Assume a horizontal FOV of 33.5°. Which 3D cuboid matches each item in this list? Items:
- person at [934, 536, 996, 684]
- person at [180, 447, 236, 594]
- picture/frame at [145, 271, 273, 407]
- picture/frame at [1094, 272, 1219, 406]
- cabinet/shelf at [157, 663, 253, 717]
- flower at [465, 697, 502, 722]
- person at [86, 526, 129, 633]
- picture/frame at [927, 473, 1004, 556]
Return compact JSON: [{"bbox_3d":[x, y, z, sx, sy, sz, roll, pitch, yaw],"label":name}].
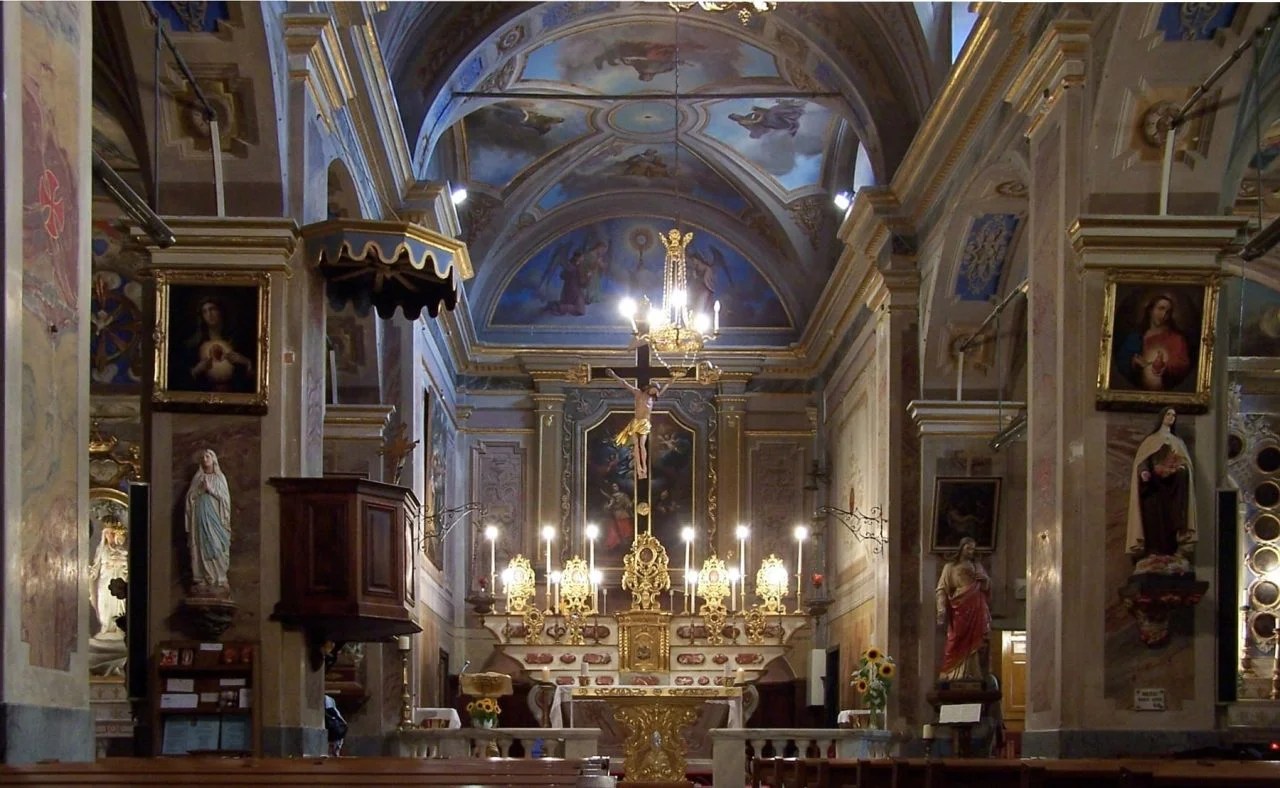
[{"bbox_3d":[3.488,2.315,22.843,0.527,1.514,0.469,-2,-13,7],"label":"person"},{"bbox_3d":[-3.985,1.225,19.830,0.430,1.341,0.315,3,-13,-14],"label":"person"},{"bbox_3d":[-4.040,-0.514,20.035,1.370,1.531,0.180,0,-4,-6],"label":"picture/frame"},{"bbox_3d":[4.845,-0.505,19.874,1.263,1.405,0.206,4,-1,1],"label":"picture/frame"},{"bbox_3d":[-4.002,2.756,19.844,0.884,0.411,0.201,2,-13,-12],"label":"cabinet/shelf"},{"bbox_3d":[-1.764,3.587,24.226,0.386,0.293,0.387,0,-2,28],"label":"flower"},{"bbox_3d":[-6.166,2.182,24.941,0.363,1.321,0.291,4,-13,-19],"label":"person"},{"bbox_3d":[3.737,1.396,24.205,0.973,1.042,0.107,1,4,6],"label":"picture/frame"}]
